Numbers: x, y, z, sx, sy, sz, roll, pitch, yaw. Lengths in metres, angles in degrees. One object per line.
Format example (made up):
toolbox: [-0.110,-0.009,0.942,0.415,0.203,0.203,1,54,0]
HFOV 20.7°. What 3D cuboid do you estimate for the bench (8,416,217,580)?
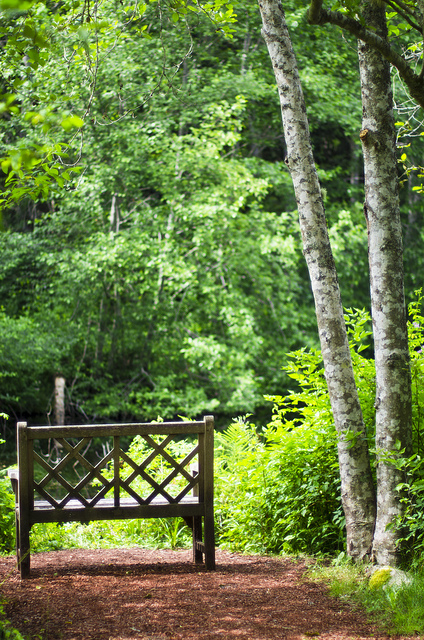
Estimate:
bench: [-0.784,1.476,9.292,1.387,1.055,0.503,0,5,-6]
